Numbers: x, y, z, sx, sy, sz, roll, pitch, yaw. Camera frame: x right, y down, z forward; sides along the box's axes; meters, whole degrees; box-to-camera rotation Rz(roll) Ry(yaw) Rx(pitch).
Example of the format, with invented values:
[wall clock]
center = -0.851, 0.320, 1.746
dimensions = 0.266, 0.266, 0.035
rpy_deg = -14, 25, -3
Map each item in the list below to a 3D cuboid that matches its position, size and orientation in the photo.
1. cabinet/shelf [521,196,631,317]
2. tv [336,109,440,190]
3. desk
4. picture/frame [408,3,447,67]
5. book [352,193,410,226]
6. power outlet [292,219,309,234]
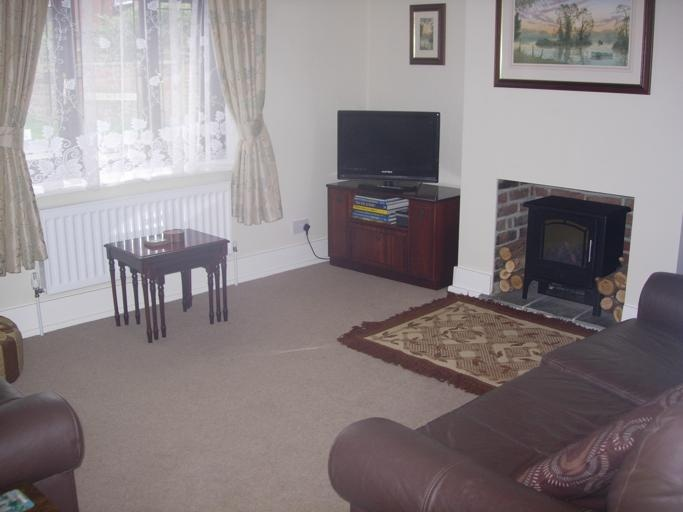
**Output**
[cabinet/shelf]
center = 1.706, -0.003, 4.226
dimensions = 0.593, 0.733, 0.419
rpy_deg = 10, 14, 35
[tv]
center = 0.413, -0.939, 4.840
dimensions = 0.660, 0.475, 0.050
rpy_deg = 5, 12, 16
[desk]
center = -1.205, -0.015, 4.060
dimensions = 0.909, 0.871, 0.739
rpy_deg = -14, 21, -41
[picture/frame]
center = 0.780, -1.992, 4.952
dimensions = 0.477, 0.669, 0.067
rpy_deg = 13, 23, 37
[book]
center = 0.335, -0.413, 4.879
dimensions = 0.342, 0.128, 0.280
rpy_deg = 16, 23, 37
[power outlet]
center = -0.400, -0.277, 5.234
dimensions = 0.123, 0.090, 0.017
rpy_deg = -19, 22, -40
